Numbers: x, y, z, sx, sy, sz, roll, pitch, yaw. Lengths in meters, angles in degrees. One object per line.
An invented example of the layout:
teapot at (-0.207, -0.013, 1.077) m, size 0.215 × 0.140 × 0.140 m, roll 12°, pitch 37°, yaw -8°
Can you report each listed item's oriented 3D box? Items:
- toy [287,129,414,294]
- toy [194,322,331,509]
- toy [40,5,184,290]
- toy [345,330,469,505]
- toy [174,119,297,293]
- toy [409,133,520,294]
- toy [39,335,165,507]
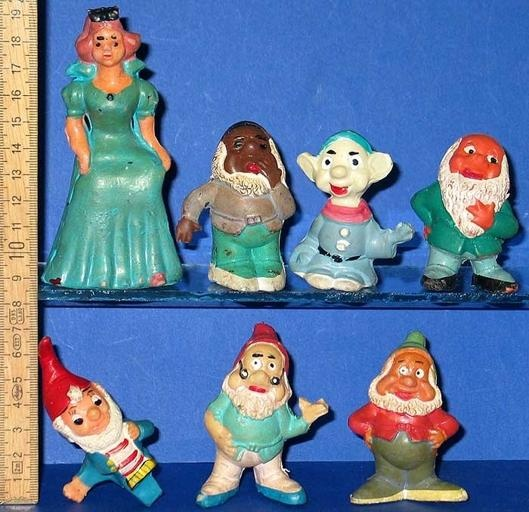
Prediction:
toy at (0.189, -0.111, 1.931) m, size 0.355 × 0.421 × 0.167 m, roll 2°, pitch 7°, yaw 8°
toy at (-0.008, 0.383, 1.906) m, size 0.233 × 0.400 × 0.215 m, roll 9°, pitch 13°, yaw 39°
toy at (-0.344, -0.238, 1.850) m, size 0.308 × 0.609 × 0.159 m, roll 0°, pitch 10°, yaw -3°
toy at (0.338, 0.381, 2.012) m, size 0.368 × 0.534 × 0.202 m, roll -1°, pitch 5°, yaw -1°
toy at (-0.065, -0.113, 1.848) m, size 0.261 × 0.369 × 0.116 m, roll 1°, pitch 10°, yaw 0°
toy at (0.456, -0.106, 1.904) m, size 0.210 × 0.347 × 0.131 m, roll -2°, pitch 10°, yaw -16°
toy at (-0.398, 0.390, 2.003) m, size 0.245 × 0.280 × 0.190 m, roll 23°, pitch 50°, yaw 21°
